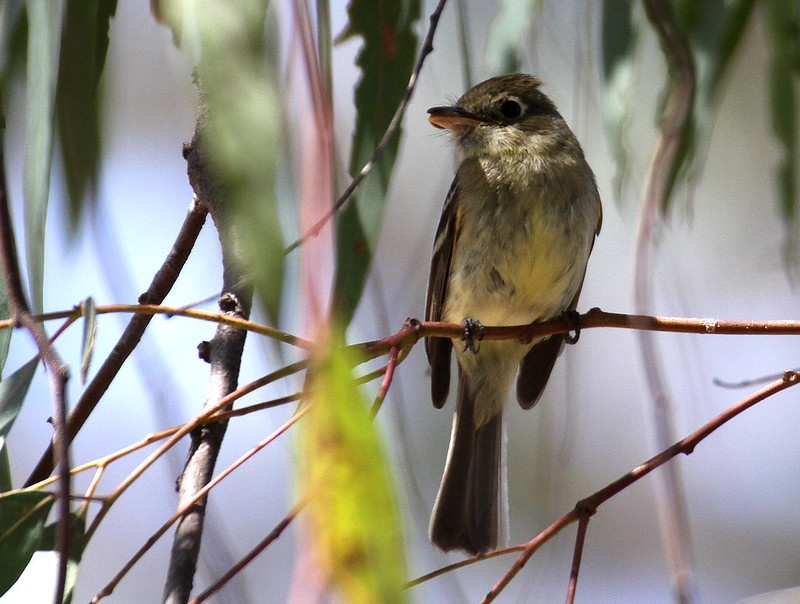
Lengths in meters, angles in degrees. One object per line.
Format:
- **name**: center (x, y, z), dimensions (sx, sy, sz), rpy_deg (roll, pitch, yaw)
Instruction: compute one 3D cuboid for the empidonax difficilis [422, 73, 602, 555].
- **empidonax difficilis**: center (0.386, 0.179, 3.547), dimensions (0.548, 0.721, 2.002), rpy_deg (2, -74, -10)
